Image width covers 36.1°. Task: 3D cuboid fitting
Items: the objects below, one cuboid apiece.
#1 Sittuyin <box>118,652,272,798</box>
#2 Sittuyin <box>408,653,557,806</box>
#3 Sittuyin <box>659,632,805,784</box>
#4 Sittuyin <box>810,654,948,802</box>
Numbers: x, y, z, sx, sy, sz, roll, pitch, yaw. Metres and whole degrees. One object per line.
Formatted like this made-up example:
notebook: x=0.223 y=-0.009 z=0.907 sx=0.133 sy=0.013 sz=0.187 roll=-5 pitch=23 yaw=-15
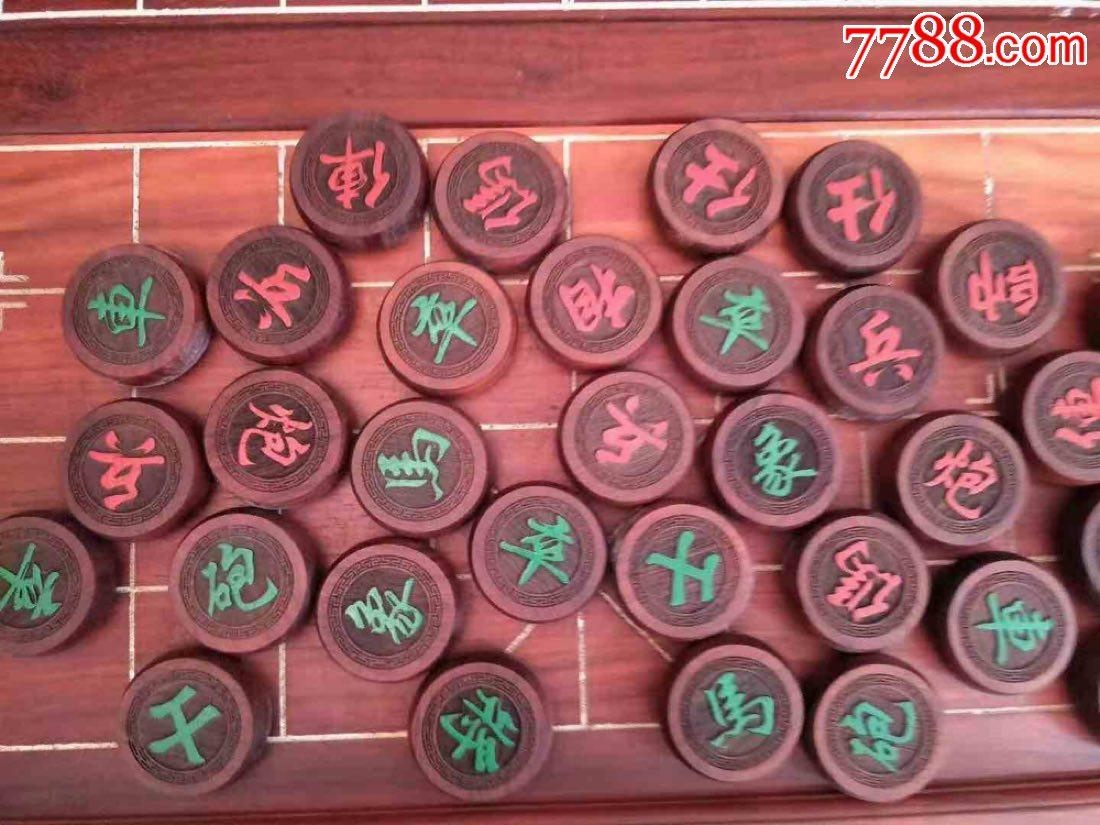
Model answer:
Sittuyin: x=-1.595 y=1.397 z=7.507 sx=0.614 sy=0.423 sz=0.526 roll=14 pitch=-59 yaw=-13
Sittuyin: x=-0.314 y=1.413 z=7.480 sx=0.603 sy=0.418 sz=0.505 roll=-20 pitch=-58 yaw=9
Sittuyin: x=0.815 y=1.324 z=7.499 sx=0.602 sy=0.446 sz=0.496 roll=-11 pitch=-57 yaw=3
Sittuyin: x=1.469 y=1.384 z=7.436 sx=0.730 sy=0.159 sz=0.565 roll=-4 pitch=-94 yaw=1
